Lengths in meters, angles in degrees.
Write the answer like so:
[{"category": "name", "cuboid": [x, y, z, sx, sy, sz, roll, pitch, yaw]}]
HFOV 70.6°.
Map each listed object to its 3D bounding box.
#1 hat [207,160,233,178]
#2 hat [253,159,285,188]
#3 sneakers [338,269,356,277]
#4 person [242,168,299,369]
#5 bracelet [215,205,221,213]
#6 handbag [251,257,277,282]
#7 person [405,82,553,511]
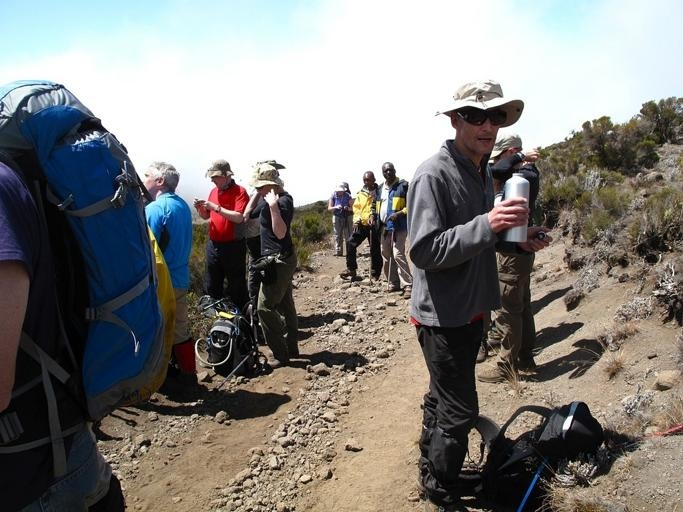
[{"category": "hat", "cuboid": [-1.687, -1.193, 6.621, 0.314, 0.229, 0.521, -10, 12, -15]}, {"category": "hat", "cuboid": [-0.918, -0.991, 5.925, 0.352, 0.335, 0.357, -9, 12, -9]}, {"category": "sneakers", "cuboid": [0.140, 0.400, 10.757, 0.327, 0.162, 0.148, 6, 6, 23]}, {"category": "person", "cuboid": [-0.809, 0.156, 5.985, 0.569, 2.579, 0.638, -3, 12, 18]}, {"category": "bracelet", "cuboid": [-1.670, -0.625, 6.539, 0.096, 0.068, 0.095, 12, 25, 33]}, {"category": "handbag", "cuboid": [-0.911, 0.160, 5.717, 0.259, 0.314, 0.302, 1, 3, -15]}, {"category": "person", "cuboid": [0.860, 0.337, 3.201, 0.761, 2.882, 0.814, 4, 15, 42]}]
